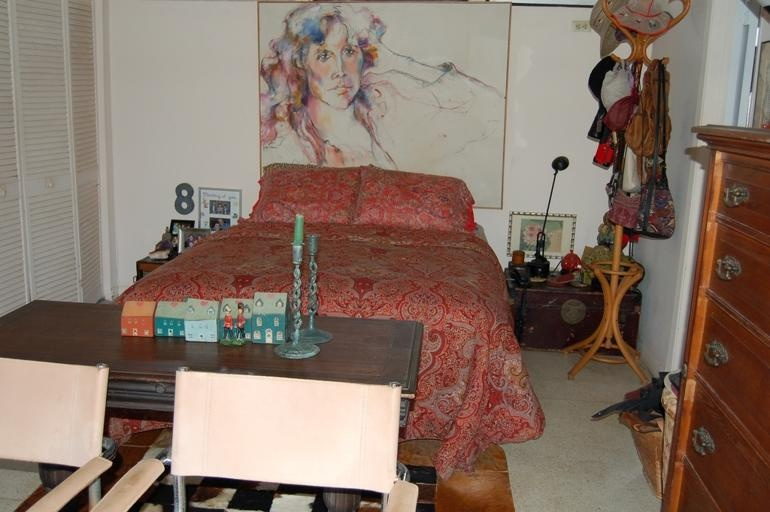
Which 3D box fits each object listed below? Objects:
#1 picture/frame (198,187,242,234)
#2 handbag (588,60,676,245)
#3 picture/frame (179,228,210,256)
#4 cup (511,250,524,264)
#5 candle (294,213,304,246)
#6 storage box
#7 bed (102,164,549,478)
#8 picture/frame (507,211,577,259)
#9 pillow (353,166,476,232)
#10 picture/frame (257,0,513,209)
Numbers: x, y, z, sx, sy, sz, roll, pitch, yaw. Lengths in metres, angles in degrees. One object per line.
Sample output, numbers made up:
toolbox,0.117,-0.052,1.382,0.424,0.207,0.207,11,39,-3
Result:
picture/frame,-1.383,-0.396,5.046,0.482,0.523,0.025,0,5,1
handbag,1.622,-0.709,3.902,0.326,1.159,0.654,-5,14,-18
picture/frame,-1.587,-0.111,4.823,0.279,0.258,0.066,2,-14,-19
cup,1.064,0.015,4.798,0.100,0.097,0.099,-1,25,0
candle,-0.333,-0.104,2.276,0.037,0.119,0.067,-1,14,-2
storage box,1.332,0.440,4.605,0.839,0.406,0.606,0,10,6
bed,-0.250,0.151,4.325,2.537,1.281,3.125,4,14,8
picture/frame,1.301,-0.186,4.852,0.391,0.280,0.014,2,5,13
pillow,0.207,-0.410,4.396,0.682,0.497,0.183,6,-26,-9
picture/frame,0.079,-1.252,4.759,1.749,1.341,0.032,1,11,7
